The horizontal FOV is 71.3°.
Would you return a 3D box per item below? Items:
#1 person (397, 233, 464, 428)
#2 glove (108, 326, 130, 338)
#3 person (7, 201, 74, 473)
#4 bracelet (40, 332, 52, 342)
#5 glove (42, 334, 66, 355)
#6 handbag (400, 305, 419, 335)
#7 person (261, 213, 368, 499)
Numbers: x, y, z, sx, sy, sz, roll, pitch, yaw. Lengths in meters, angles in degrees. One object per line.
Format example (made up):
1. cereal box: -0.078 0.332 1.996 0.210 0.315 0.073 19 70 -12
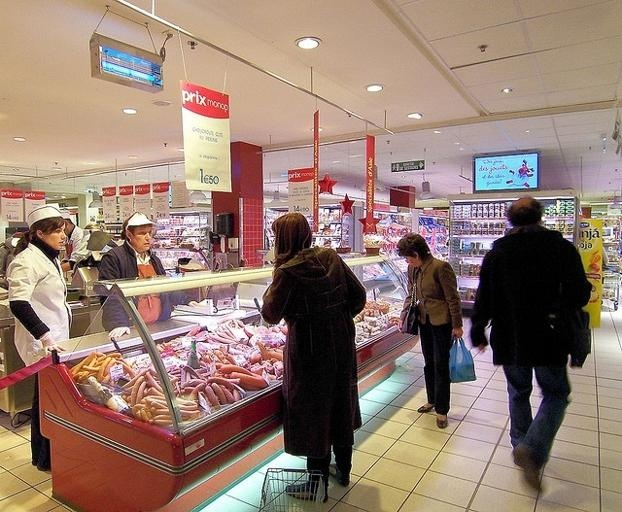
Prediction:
1. person: 1.163 0.716 4.287 0.623 1.854 0.374 2 7 27
2. glove: -1.285 0.518 2.921 0.197 0.100 0.046 3 7 30
3. person: -2.335 0.656 3.769 0.458 2.179 0.939 -4 7 -29
4. bracelet: -2.096 0.651 3.448 0.073 0.064 0.069 0 -7 -6
5. glove: -1.961 0.674 3.299 0.087 0.157 0.251 13 -28 -24
6. handbag: 0.980 0.642 4.354 0.171 0.332 0.366 3 0 22
7. person: 0.028 0.749 3.108 0.795 2.096 0.416 -2 6 -16
